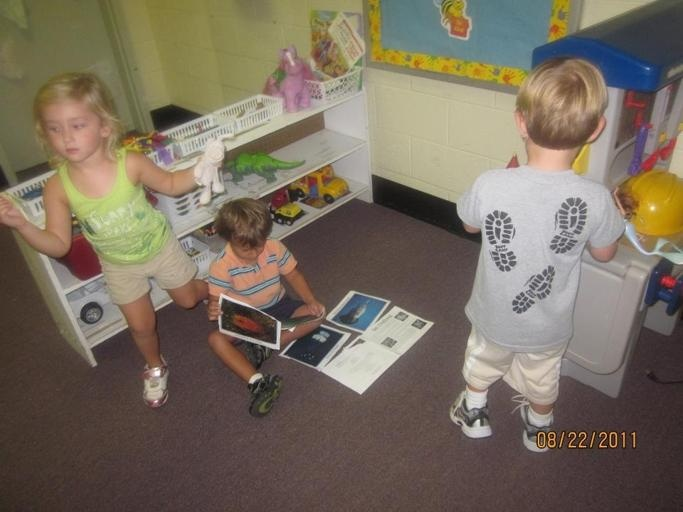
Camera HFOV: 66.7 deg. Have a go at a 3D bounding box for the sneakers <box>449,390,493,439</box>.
[{"bbox_3d":[0.544,0.697,2.272,0.114,0.136,0.281,-6,31,-3],"label":"sneakers"}]

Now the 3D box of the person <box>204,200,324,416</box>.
[{"bbox_3d":[-0.364,0.214,2.423,0.524,0.804,0.870,-1,40,-3],"label":"person"}]

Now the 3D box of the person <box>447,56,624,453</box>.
[{"bbox_3d":[0.741,0.026,2.066,0.552,1.544,0.539,4,32,12],"label":"person"}]

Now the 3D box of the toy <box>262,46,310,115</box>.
[{"bbox_3d":[-0.311,-1.067,3.147,0.273,0.352,0.263,-4,15,23],"label":"toy"}]

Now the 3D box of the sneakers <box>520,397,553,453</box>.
[{"bbox_3d":[0.837,0.725,2.231,0.088,0.099,0.244,-6,29,-2],"label":"sneakers"}]

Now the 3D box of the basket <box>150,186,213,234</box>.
[{"bbox_3d":[-0.835,-0.244,2.753,0.242,0.149,0.241,-28,51,-24],"label":"basket"}]

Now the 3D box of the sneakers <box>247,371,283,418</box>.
[{"bbox_3d":[-0.349,0.627,2.436,0.107,0.096,0.242,2,31,27],"label":"sneakers"}]

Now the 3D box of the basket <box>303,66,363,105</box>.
[{"bbox_3d":[-0.051,-1.106,3.204,0.322,0.110,0.222,-31,45,-19],"label":"basket"}]

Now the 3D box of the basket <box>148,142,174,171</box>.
[{"bbox_3d":[-0.907,-0.506,2.628,0.100,0.132,0.040,-7,22,-1],"label":"basket"}]

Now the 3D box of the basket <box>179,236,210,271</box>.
[{"bbox_3d":[-0.846,-0.024,3.040,0.157,0.089,0.228,-34,57,-30],"label":"basket"}]

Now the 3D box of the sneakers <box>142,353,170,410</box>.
[{"bbox_3d":[-0.921,0.614,2.574,0.112,0.109,0.310,-1,25,-15],"label":"sneakers"}]

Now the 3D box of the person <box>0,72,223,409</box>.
[{"bbox_3d":[-0.969,-0.043,2.314,0.505,1.369,0.620,16,44,24],"label":"person"}]
